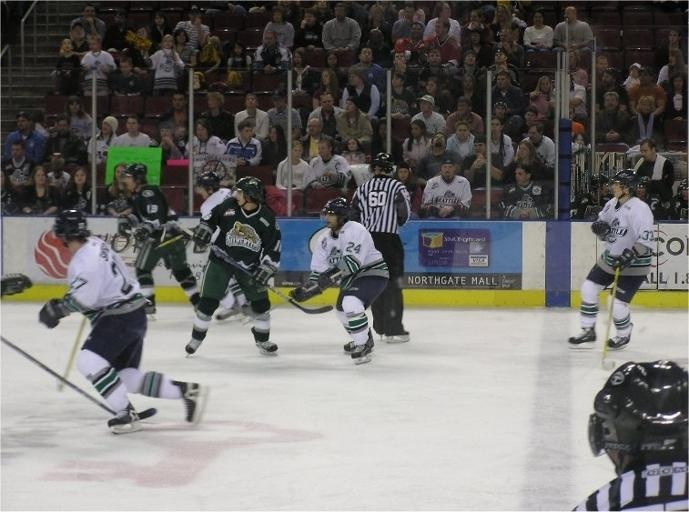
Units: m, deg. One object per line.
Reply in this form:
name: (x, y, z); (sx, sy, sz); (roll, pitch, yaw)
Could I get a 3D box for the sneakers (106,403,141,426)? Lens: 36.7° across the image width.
sneakers: (-1.645, 1.217, 7.915); (0.113, 0.135, 0.292); (-5, -6, 33)

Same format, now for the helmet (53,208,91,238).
helmet: (-2.060, -0.238, 7.871); (0.261, 0.183, 0.183); (8, -5, 8)

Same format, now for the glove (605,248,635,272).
glove: (2.655, 0.034, 10.118); (0.176, 0.084, 0.224); (-1, 22, 27)

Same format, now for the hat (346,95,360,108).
hat: (0.079, -1.820, 12.276); (0.149, 0.119, 0.034); (-1, 12, -2)

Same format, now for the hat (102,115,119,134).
hat: (-2.825, -1.627, 12.892); (0.222, 0.198, 0.154); (-17, -6, 4)

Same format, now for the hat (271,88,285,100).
hat: (-0.779, -1.925, 12.389); (0.152, 0.102, 0.050); (1, 12, 6)

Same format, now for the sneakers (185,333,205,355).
sneakers: (-1.435, 0.859, 10.052); (0.102, 0.276, 0.111); (39, -3, -7)

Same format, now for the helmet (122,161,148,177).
helmet: (-2.279, -0.949, 11.432); (0.125, 0.146, 0.230); (23, -7, -33)

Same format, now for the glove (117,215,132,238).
glove: (-2.439, -0.330, 11.660); (0.240, 0.267, 0.225); (1, 8, -2)

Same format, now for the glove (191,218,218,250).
glove: (-1.433, -0.220, 10.668); (0.317, 0.300, 0.134); (26, 0, 36)

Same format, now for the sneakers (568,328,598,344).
sneakers: (2.369, 0.803, 10.424); (0.369, 0.220, 0.116); (2, -1, 6)

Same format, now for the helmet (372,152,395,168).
helmet: (0.394, -0.980, 10.794); (0.170, 0.156, 0.214); (14, 16, 14)

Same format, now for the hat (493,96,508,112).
hat: (1.801, -1.776, 12.184); (0.161, 0.179, 0.184); (2, 7, 7)

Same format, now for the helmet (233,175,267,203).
helmet: (-0.896, -0.624, 9.953); (0.245, 0.262, 0.283); (-3, 11, -11)

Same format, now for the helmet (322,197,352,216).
helmet: (-0.055, -0.474, 10.003); (0.240, 0.201, 0.174); (13, 6, -15)

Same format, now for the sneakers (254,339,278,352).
sneakers: (-0.753, 0.874, 10.133); (0.092, 0.092, 0.252); (-12, 7, -42)

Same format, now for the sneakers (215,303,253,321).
sneakers: (-1.199, 0.617, 11.499); (0.142, 0.163, 0.653); (-5, -11, -32)

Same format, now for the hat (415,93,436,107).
hat: (0.957, -1.822, 12.155); (0.149, 0.049, 0.102); (16, -9, -34)

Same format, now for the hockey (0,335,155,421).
hockey: (-2.155, 1.020, 8.501); (0.910, 0.089, 0.302); (30, 1, 9)

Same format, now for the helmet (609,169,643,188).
helmet: (2.718, -0.748, 10.184); (0.238, 0.201, 0.177); (10, 7, 24)

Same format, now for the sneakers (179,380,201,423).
sneakers: (-1.177, 1.089, 7.988); (0.124, 0.338, 0.158); (5, 16, 36)

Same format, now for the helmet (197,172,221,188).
helmet: (-1.448, -0.831, 11.482); (0.249, 0.166, 0.200); (17, -29, -32)

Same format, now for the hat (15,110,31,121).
hat: (-4.018, -1.764, 13.126); (0.121, 0.128, 0.147); (2, 16, 32)

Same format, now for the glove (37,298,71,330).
glove: (-2.143, 0.419, 7.738); (0.256, 0.092, 0.188); (-26, 15, -27)

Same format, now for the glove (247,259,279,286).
glove: (-0.758, 0.151, 9.933); (0.233, 0.255, 0.123); (-2, 12, -9)

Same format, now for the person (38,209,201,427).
person: (-1.708, 0.487, 7.891); (1.103, 1.646, 0.470); (-2, 12, -8)

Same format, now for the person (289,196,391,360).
person: (0.013, 0.204, 10.114); (0.881, 1.527, 0.781); (8, 15, 36)

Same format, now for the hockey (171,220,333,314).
hockey: (-0.924, 0.104, 11.002); (2.094, 0.161, 0.343); (29, 0, 35)
